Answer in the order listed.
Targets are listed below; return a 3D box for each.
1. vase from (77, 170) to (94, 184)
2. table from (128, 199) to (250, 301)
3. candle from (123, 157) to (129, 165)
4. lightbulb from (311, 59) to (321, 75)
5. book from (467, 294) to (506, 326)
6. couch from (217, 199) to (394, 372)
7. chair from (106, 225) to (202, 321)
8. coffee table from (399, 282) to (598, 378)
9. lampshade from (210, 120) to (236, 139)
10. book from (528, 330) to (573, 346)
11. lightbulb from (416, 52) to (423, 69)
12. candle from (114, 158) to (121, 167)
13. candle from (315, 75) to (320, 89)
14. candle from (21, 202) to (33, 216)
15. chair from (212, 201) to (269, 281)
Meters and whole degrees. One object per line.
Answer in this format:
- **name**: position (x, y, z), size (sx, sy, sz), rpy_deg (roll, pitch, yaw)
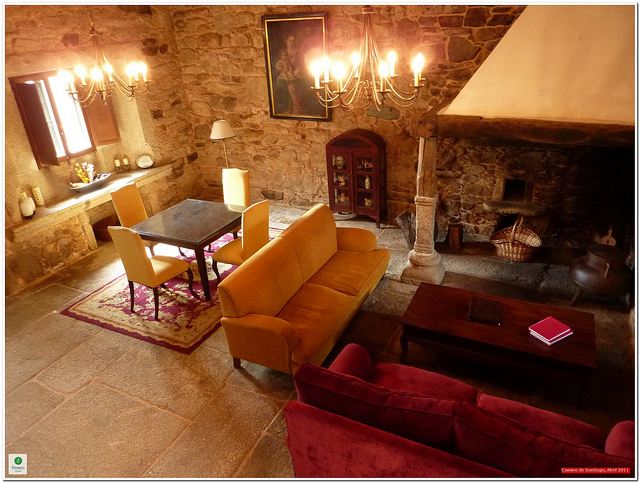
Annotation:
- **vase**: position (-3.428, -0.961, 6.132), size (0.215, 0.168, 0.253), rpy_deg (-12, 24, -27)
- **table**: position (-1.584, -0.166, 5.588), size (1.452, 1.213, 1.293), rpy_deg (15, 25, 25)
- **candle**: position (-3.158, -1.307, 6.797), size (0.097, 0.100, 0.093), rpy_deg (-3, 17, -6)
- **lightbulb**: position (-0.027, -1.438, 3.452), size (0.069, 0.109, 0.163), rpy_deg (-1, 21, -1)
- **book**: position (1.571, 0.650, 3.970), size (0.319, 0.070, 0.321), rpy_deg (6, 35, 11)
- **couch**: position (-0.024, 0.428, 4.531), size (1.010, 0.896, 2.035), rpy_deg (13, 34, 23)
- **chair**: position (-1.979, 0.287, 4.974), size (0.615, 1.077, 0.675), rpy_deg (10, 23, 29)
- **coffee table**: position (1.684, 0.760, 3.817), size (1.820, 0.415, 0.760), rpy_deg (8, 40, 19)
- **lampshade**: position (-1.513, -1.724, 6.535), size (0.324, 0.169, 0.277), rpy_deg (-13, 27, -6)
- **book**: position (1.965, 0.838, 3.637), size (0.196, 0.026, 0.135), rpy_deg (-21, 27, -34)
- **lightbulb**: position (0.788, -1.433, 3.320), size (0.047, 0.111, 0.094), rpy_deg (6, 23, 16)
- **candle**: position (-3.215, -1.276, 6.684), size (0.103, 0.107, 0.099), rpy_deg (-9, 12, -22)
- **candle**: position (-0.019, -1.300, 3.415), size (0.029, 0.095, 0.077), rpy_deg (-4, 22, -6)
- **candle**: position (-3.732, -0.421, 5.324), size (0.144, 0.150, 0.141), rpy_deg (-2, 21, -18)
- **chair**: position (-0.938, -0.007, 4.941), size (0.514, 0.960, 0.584), rpy_deg (17, 38, 21)
